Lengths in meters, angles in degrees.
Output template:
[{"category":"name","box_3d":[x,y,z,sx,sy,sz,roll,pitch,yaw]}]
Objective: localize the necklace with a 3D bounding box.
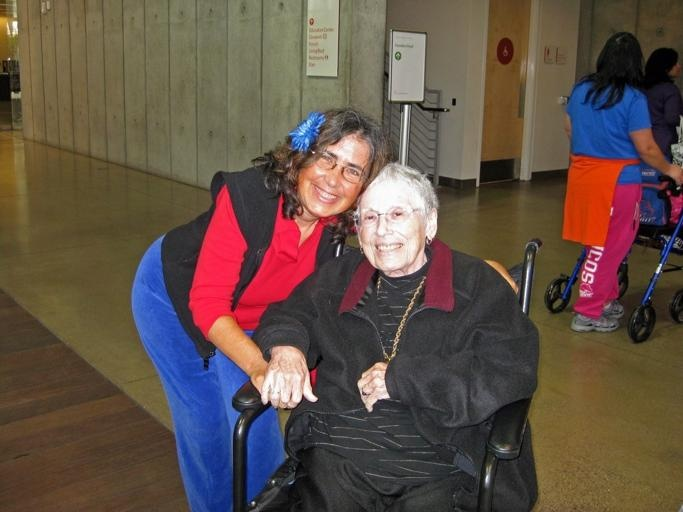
[{"category":"necklace","box_3d":[0.202,0.201,2.028,0.166,0.319,0.053,-3,-21,45]}]

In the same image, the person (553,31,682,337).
[{"category":"person","box_3d":[2.078,-0.571,4.340,0.726,2.154,0.299,6,14,22]}]

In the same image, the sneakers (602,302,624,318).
[{"category":"sneakers","box_3d":[2.326,0.449,4.813,0.236,0.135,0.092,-20,25,-41]}]
